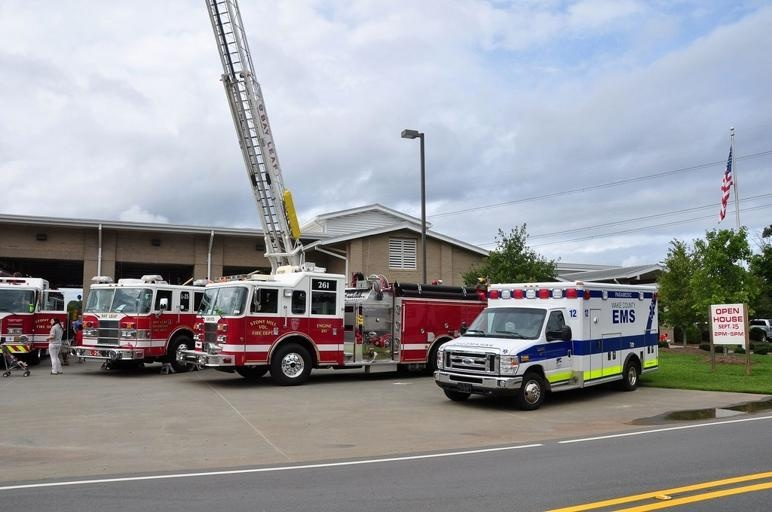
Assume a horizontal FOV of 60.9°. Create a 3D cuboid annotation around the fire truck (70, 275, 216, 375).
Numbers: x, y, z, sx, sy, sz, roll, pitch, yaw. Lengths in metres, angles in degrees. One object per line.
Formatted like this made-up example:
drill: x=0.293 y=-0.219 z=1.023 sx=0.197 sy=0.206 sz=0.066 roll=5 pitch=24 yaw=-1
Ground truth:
fire truck: x=-8.149 y=2.618 z=24.296 sx=2.859 sy=2.358 sz=4.997 roll=-4 pitch=-10 yaw=28
